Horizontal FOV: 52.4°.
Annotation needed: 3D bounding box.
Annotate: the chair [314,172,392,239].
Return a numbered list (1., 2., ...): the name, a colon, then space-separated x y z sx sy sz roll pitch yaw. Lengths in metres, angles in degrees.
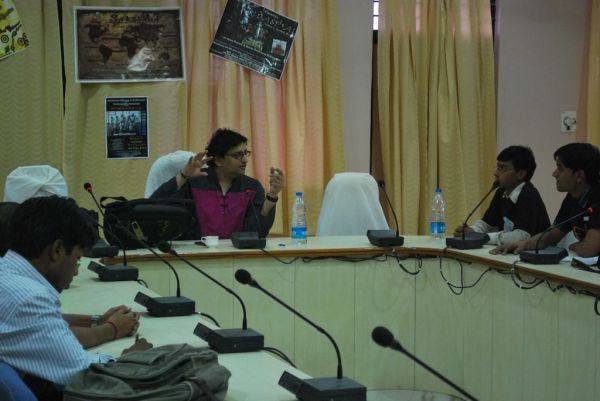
1. chair: 0.442 0.025 5.267 0.666 0.734 0.459 0 -4 -2

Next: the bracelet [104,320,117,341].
1. bracelet: -0.955 0.669 3.150 0.051 0.077 0.074 -7 26 5

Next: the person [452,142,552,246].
1. person: 1.758 -0.027 5.003 0.801 0.962 0.717 1 -1 -9

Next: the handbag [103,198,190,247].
1. handbag: -1.046 0.110 4.238 0.419 0.230 0.386 -1 2 -16

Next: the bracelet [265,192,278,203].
1. bracelet: -0.214 -0.025 4.762 0.092 0.078 0.111 0 1 -10

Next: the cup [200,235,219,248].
1. cup: -0.659 0.294 4.451 0.102 0.070 0.074 1 -1 14

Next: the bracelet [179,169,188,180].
1. bracelet: -0.894 -0.207 4.706 0.068 0.071 0.072 0 1 -19

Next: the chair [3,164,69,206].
1. chair: -1.787 -0.106 4.110 0.277 0.210 0.169 -1 -17 -18

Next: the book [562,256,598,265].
1. book: 1.817 0.386 3.967 0.204 0.058 0.076 -8 -7 36

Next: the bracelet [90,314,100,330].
1. bracelet: -1.082 0.633 3.227 0.037 0.057 0.058 4 14 -10

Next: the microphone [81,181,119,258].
1. microphone: -1.389 0.123 4.260 0.170 0.109 0.524 18 16 -37
